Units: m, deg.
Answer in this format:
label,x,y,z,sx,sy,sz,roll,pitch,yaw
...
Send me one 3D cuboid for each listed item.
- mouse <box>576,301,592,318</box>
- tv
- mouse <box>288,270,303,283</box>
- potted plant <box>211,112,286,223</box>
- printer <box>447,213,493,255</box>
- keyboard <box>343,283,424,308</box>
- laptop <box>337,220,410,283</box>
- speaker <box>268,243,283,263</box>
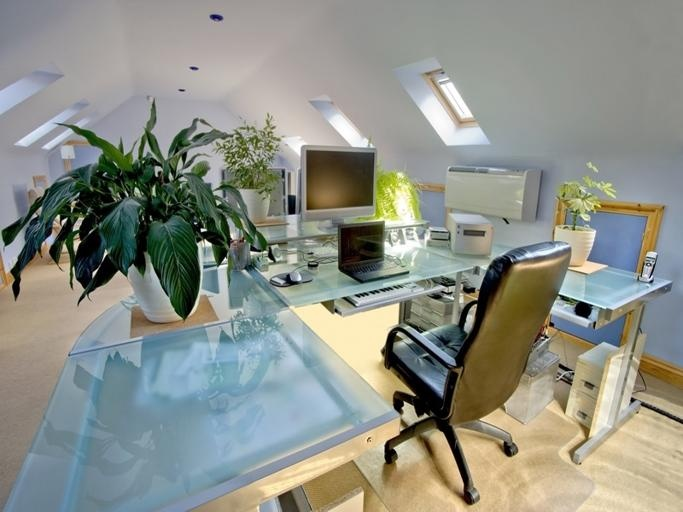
label,x,y,z,sx,sy,sz,roll,pitch,yaw
mouse,1.323,0.291,2.217,0.075,0.081,0.035,5,12,29
tv,-0.029,-0.493,2.727,0.519,0.457,0.106,-5,13,-29
mouse,-0.260,0.107,2.323,0.056,0.021,0.076,2,32,-4
potted plant,-0.615,-0.564,2.704,0.416,0.680,0.485,-2,13,-31
printer,0.907,-0.166,2.890,0.225,0.223,0.313,-2,17,-2
keyboard,0.254,0.211,2.296,0.464,0.068,0.121,-5,11,-25
laptop,0.165,-0.039,2.546,0.478,0.357,0.363,-12,24,-33
speaker,-0.429,-0.023,2.657,0.042,0.121,0.087,-13,-32,40
